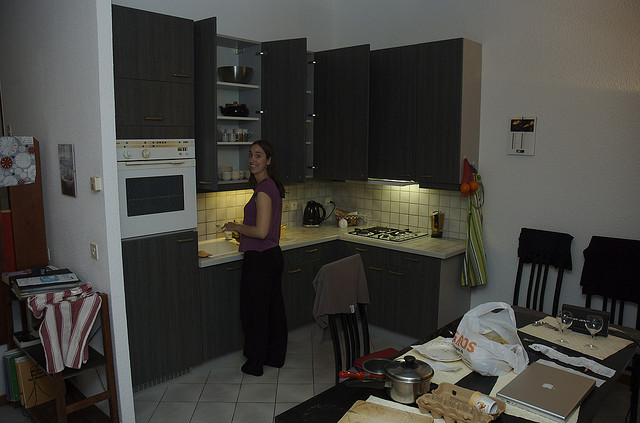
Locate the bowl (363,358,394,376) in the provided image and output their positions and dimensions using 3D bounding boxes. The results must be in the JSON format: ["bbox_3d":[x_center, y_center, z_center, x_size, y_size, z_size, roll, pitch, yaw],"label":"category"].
[{"bbox_3d":[0.350,0.932,2.588,0.144,0.051,0.167,3,12,25],"label":"bowl"}]

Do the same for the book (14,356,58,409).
[{"bbox_3d":[-2.416,1.422,3.580,0.263,0.435,0.119,-7,12,-26],"label":"book"}]

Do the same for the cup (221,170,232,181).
[{"bbox_3d":[-0.989,-0.398,4.542,0.079,0.078,0.103,6,6,44],"label":"cup"}]

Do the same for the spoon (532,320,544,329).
[{"bbox_3d":[1.627,0.849,3.172,0.023,0.031,0.077,-12,12,-19],"label":"spoon"}]

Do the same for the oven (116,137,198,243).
[{"bbox_3d":[-1.500,-0.182,4.066,0.728,0.987,0.660,-5,-4,-17],"label":"oven"}]

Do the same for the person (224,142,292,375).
[{"bbox_3d":[-0.593,0.460,4.242,0.428,2.280,0.550,3,12,28],"label":"person"}]

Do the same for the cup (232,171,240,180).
[{"bbox_3d":[-0.903,-0.397,4.600,0.078,0.084,0.077,1,12,0],"label":"cup"}]

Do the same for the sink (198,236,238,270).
[{"bbox_3d":[-1.050,0.399,4.491,0.275,0.170,0.416,10,16,36],"label":"sink"}]

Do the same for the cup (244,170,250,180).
[{"bbox_3d":[-0.818,-0.420,4.752,0.071,0.075,0.092,0,-1,9],"label":"cup"}]

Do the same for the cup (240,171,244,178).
[{"bbox_3d":[-0.859,-0.422,4.691,0.043,0.043,0.054,0,-1,1],"label":"cup"}]

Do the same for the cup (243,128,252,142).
[{"bbox_3d":[-0.833,-0.860,4.767,0.080,0.134,0.135,4,12,32],"label":"cup"}]

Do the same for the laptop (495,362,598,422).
[{"bbox_3d":[1.296,1.019,2.426,0.530,0.095,0.348,-12,14,-42],"label":"laptop"}]
